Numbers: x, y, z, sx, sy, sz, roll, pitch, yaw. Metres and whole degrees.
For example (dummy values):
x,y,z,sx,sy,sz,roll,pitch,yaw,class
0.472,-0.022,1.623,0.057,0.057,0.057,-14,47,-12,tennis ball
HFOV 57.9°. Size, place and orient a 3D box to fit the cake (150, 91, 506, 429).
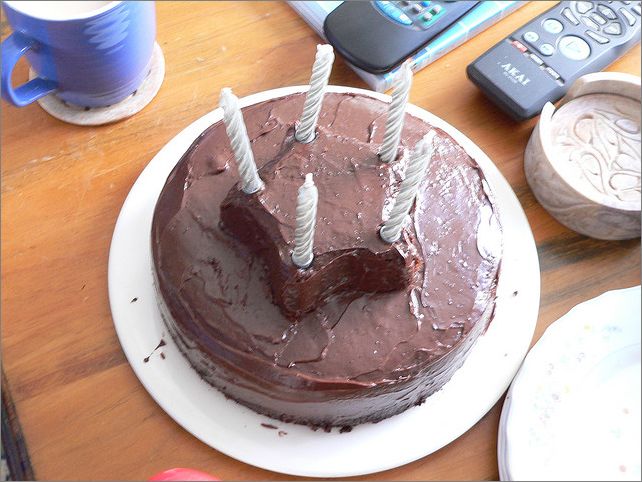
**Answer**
x,y,z,sx,sy,sz,roll,pitch,yaw,class
0.015,-0.001,0.730,0.418,0.150,0.425,-32,63,-14,cake
